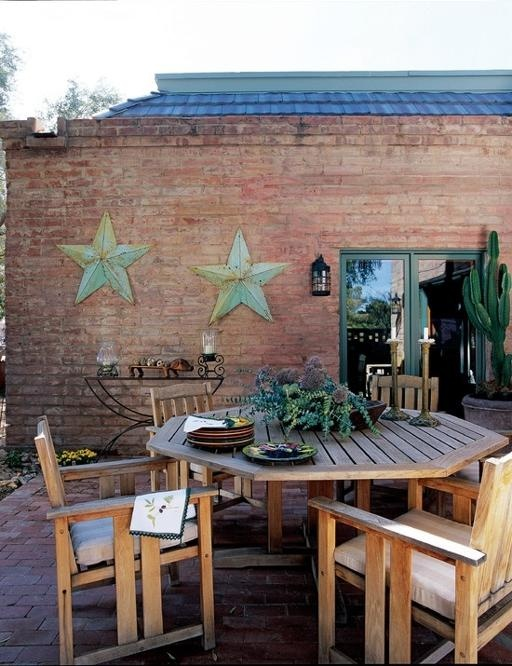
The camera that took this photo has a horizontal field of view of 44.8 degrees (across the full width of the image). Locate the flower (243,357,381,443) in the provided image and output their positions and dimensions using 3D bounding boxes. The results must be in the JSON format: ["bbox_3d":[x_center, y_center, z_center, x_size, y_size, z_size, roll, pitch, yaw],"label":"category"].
[{"bbox_3d":[0.204,0.227,2.838,0.570,0.243,0.542,24,11,34],"label":"flower"}]

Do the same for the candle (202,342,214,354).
[{"bbox_3d":[-0.375,0.121,4.776,0.126,0.103,0.063,1,-6,-3],"label":"candle"}]

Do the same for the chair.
[{"bbox_3d":[-0.034,0.655,2.443,1.408,0.497,1.119,-5,7,-22],"label":"chair"}]

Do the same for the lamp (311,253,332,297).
[{"bbox_3d":[0.512,-0.450,4.935,0.153,0.321,0.117,0,8,7],"label":"lamp"}]

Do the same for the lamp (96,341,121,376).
[{"bbox_3d":[-1.175,0.205,4.880,0.174,0.273,0.338,-2,7,-13],"label":"lamp"}]
